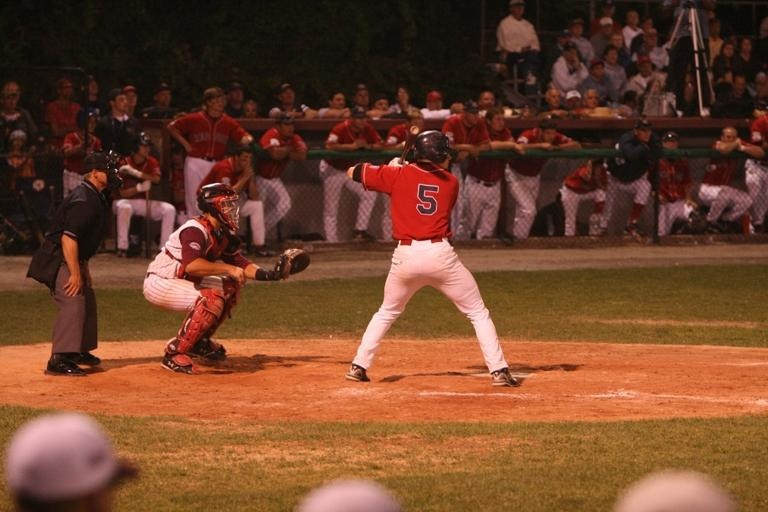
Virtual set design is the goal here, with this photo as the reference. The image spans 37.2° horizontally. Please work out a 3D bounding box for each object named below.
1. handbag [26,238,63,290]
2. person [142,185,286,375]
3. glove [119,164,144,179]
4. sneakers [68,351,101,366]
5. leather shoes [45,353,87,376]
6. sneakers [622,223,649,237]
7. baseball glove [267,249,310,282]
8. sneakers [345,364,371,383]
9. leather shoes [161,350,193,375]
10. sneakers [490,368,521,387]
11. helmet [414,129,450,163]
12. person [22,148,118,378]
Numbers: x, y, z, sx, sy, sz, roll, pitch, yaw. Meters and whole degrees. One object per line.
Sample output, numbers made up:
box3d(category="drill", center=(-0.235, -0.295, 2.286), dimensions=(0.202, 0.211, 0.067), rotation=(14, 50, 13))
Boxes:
box3d(category="handbag", center=(-3.858, 0.057, 13.105), dimensions=(0.398, 0.618, 0.267), rotation=(0, 16, -5))
box3d(category="person", center=(-2.042, 0.216, 13.618), dimensions=(1.551, 2.225, 0.863), rotation=(-1, 16, -11))
box3d(category="glove", center=(-4.265, -1.443, 19.449), dimensions=(0.394, 0.246, 0.226), rotation=(5, 15, 14))
box3d(category="sneakers", center=(-3.515, 1.201, 13.396), dimensions=(0.375, 0.133, 0.125), rotation=(12, 24, -15))
box3d(category="leather shoes", center=(-3.660, 1.229, 13.234), dimensions=(0.509, 0.155, 0.215), rotation=(-1, 2, 4))
box3d(category="sneakers", center=(4.800, -0.508, 21.889), dimensions=(0.150, 0.164, 0.419), rotation=(-19, 23, -27))
box3d(category="baseball glove", center=(-1.065, 0.094, 13.406), dimensions=(0.474, 0.159, 0.307), rotation=(-25, 48, 3))
box3d(category="sneakers", center=(-0.296, 1.330, 13.138), dimensions=(0.158, 0.132, 0.330), rotation=(5, 4, 16))
box3d(category="leather shoes", center=(-2.414, 1.238, 13.488), dimensions=(0.487, 0.158, 0.160), rotation=(9, 27, 18))
box3d(category="sneakers", center=(1.376, 1.357, 13.130), dimensions=(0.427, 0.235, 0.154), rotation=(-10, 13, -30))
box3d(category="helmet", center=(0.561, -1.264, 13.022), dimensions=(0.412, 0.273, 0.393), rotation=(7, 20, 17))
box3d(category="person", center=(-3.559, 0.087, 13.206), dimensions=(0.620, 2.543, 0.870), rotation=(10, 18, 26))
